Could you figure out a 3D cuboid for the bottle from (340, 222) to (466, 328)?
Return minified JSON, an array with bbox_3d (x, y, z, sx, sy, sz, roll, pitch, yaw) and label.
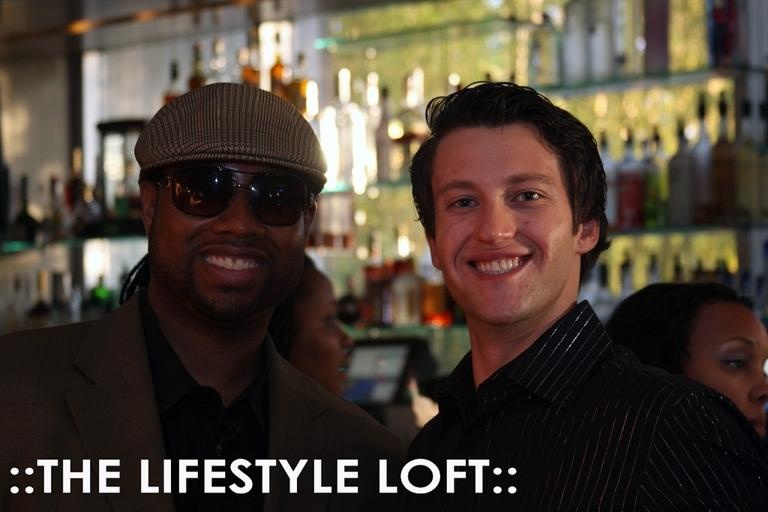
[{"bbox_3d":[0.128,0.034,5.422,0.556,0.486,0.329,0,1,17],"label":"bottle"}]
